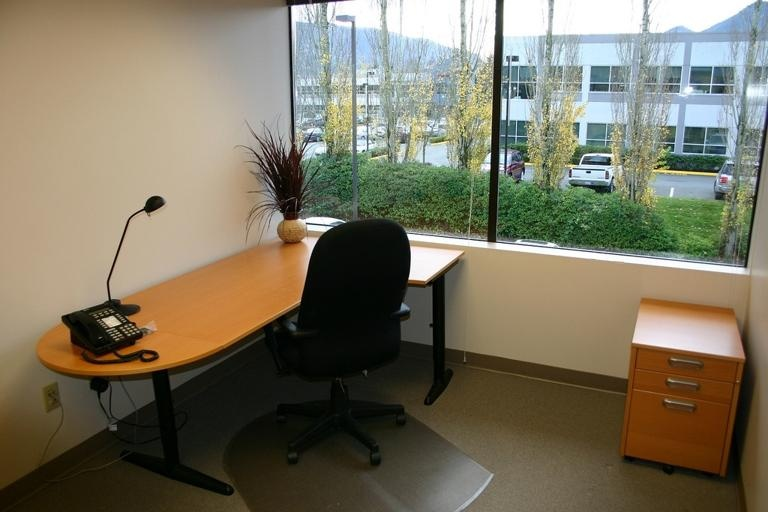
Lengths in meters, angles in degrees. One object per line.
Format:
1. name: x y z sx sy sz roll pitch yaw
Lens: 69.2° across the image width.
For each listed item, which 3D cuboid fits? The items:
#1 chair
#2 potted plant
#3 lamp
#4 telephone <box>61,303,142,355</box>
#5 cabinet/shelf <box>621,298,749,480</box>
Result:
1. chair: -0.300 0.509 3.700 0.940 1.549 1.031 6 11 26
2. potted plant: -0.757 -0.541 4.572 0.600 0.898 0.701 -10 -2 -19
3. lamp: -1.559 -0.047 3.482 0.408 0.700 0.698 -8 19 -23
4. telephone: -1.560 0.401 3.114 0.350 0.186 0.303 14 22 36
5. cabinet/shelf: 1.875 0.933 3.609 0.611 0.775 0.569 4 7 15
